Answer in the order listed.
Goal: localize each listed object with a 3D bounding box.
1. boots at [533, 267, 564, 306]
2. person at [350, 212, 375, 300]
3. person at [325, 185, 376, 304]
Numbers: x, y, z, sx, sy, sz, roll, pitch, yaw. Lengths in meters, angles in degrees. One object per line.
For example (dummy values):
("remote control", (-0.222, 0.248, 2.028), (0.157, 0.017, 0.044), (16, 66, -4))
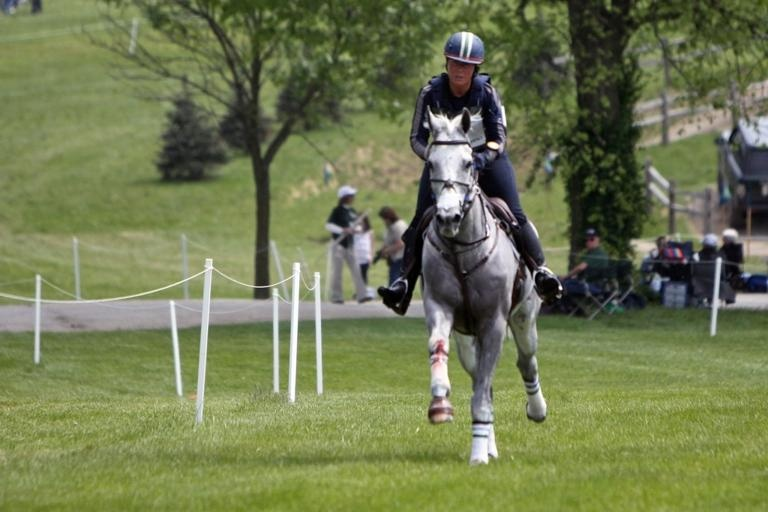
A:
("boots", (2.702, 0.415, 31.206), (0.487, 0.418, 1.016), (12, 10, -2))
("person", (-0.441, -0.107, 42.037), (0.435, 1.704, 0.485), (5, -1, -22))
("person", (-0.707, -0.292, 40.742), (0.925, 2.428, 0.969), (2, -1, -9))
